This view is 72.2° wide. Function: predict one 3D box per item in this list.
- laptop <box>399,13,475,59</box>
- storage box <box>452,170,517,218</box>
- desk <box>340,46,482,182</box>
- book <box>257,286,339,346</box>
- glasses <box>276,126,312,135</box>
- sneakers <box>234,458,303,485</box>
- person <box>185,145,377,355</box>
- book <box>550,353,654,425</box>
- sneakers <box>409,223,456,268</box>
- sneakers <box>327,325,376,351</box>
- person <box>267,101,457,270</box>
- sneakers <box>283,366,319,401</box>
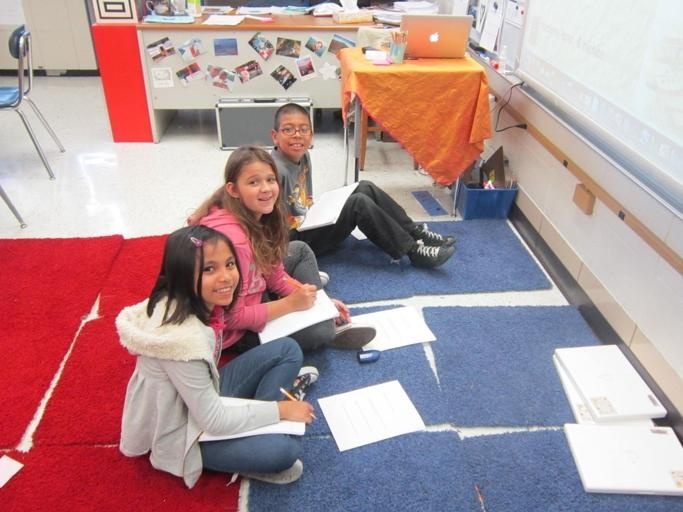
[{"bbox_3d":[0.587,-1.365,2.982,0.367,0.234,0.267,0,35,0],"label":"laptop"},{"bbox_3d":[0.961,-0.414,3.091,0.270,0.176,0.280,2,38,-1],"label":"storage box"},{"bbox_3d":[0.491,-0.933,3.104,0.726,0.568,0.752,-3,43,-3],"label":"desk"},{"bbox_3d":[-0.182,0.259,1.933,0.270,0.068,0.193,-19,43,-19],"label":"book"},{"bbox_3d":[-0.242,-0.656,2.401,0.171,0.045,0.056,-3,35,-8],"label":"glasses"},{"bbox_3d":[-0.249,0.774,1.712,0.255,0.106,0.090,0,40,0],"label":"sneakers"},{"bbox_3d":[-0.308,-0.163,2.149,0.948,1.006,0.668,-1,36,0],"label":"person"},{"bbox_3d":[1.108,0.538,1.975,0.336,0.074,0.344,2,35,-2],"label":"book"},{"bbox_3d":[0.497,-0.052,2.642,0.270,0.104,0.213,-3,49,18],"label":"sneakers"},{"bbox_3d":[0.043,0.358,2.121,0.243,0.092,0.097,-1,15,-5],"label":"sneakers"},{"bbox_3d":[0.099,-0.525,2.826,1.264,0.941,0.632,8,37,5],"label":"person"},{"bbox_3d":[-0.156,0.522,1.872,0.084,0.065,0.187,7,28,34],"label":"sneakers"}]
